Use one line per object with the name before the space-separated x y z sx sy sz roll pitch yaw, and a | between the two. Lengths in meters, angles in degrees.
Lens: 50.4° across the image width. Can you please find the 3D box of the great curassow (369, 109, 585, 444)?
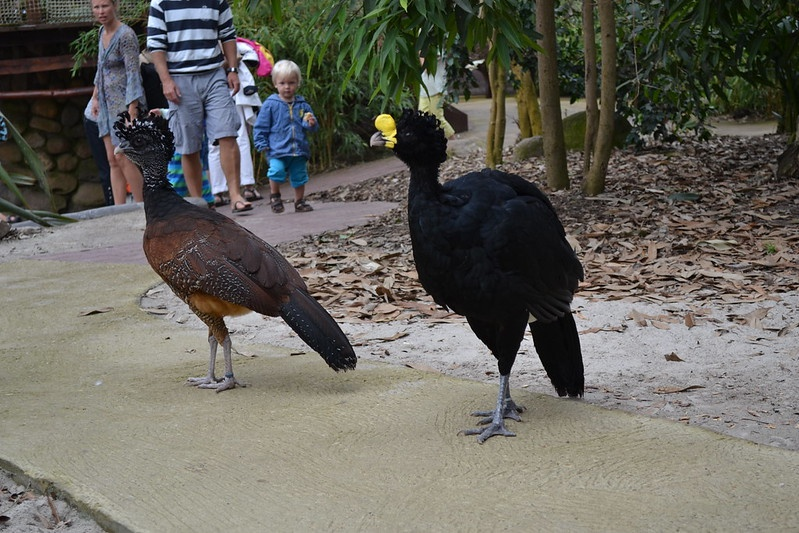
great curassow | 0.475 -0.008 4.368 0.987 1.639 0.634 -7 14 -1

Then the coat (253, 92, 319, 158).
coat | -1.294 -1.579 9.548 0.822 0.721 0.536 -5 14 -32
